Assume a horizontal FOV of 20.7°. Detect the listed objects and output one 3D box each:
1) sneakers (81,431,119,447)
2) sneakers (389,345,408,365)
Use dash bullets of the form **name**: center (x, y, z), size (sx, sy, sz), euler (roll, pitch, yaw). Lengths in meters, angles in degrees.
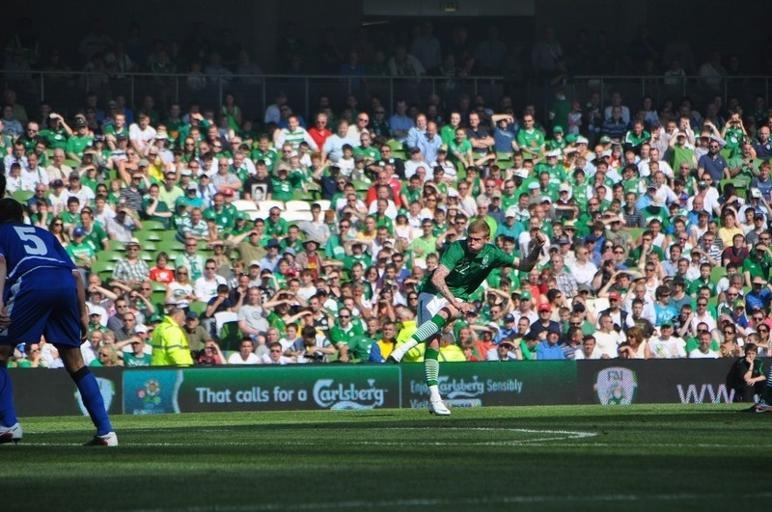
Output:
- **sneakers**: center (-5.169, 3.355, 38.792), size (0.522, 0.200, 0.262), euler (3, -5, 5)
- **sneakers**: center (0.242, 2.000, 41.951), size (0.265, 0.209, 0.617), euler (-44, -4, -11)
